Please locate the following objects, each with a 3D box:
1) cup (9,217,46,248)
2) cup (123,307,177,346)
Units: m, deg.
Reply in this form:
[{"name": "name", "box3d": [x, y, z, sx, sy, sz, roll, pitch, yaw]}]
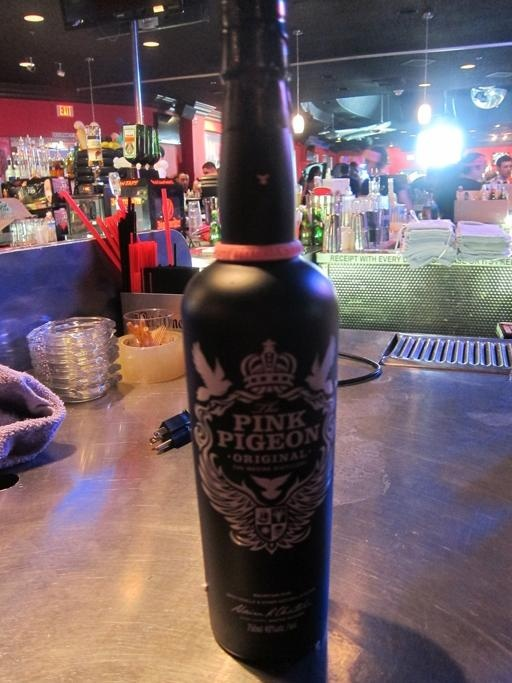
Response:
[{"name": "cup", "box3d": [-0.740, -0.359, 1.790, 0.106, 0.075, 0.178, -5, 14, -9]}, {"name": "cup", "box3d": [-0.255, -0.040, 1.296, 0.104, 0.070, 0.097, -2, 9, 0]}]
